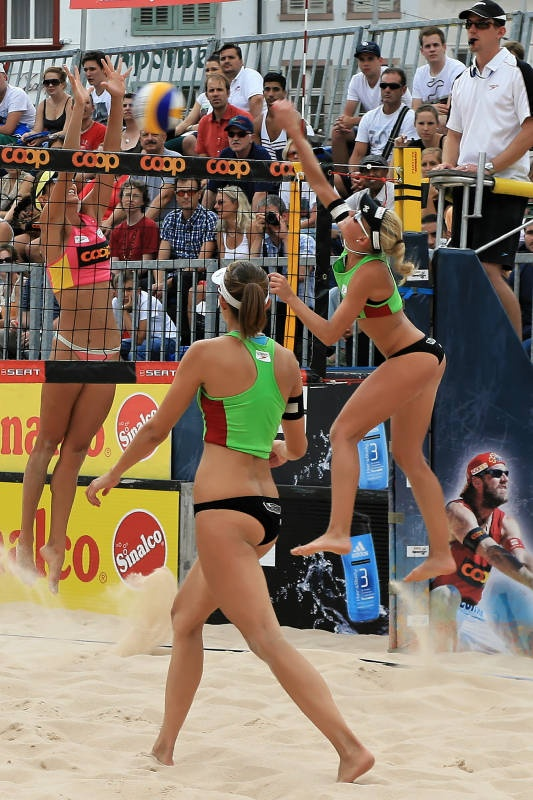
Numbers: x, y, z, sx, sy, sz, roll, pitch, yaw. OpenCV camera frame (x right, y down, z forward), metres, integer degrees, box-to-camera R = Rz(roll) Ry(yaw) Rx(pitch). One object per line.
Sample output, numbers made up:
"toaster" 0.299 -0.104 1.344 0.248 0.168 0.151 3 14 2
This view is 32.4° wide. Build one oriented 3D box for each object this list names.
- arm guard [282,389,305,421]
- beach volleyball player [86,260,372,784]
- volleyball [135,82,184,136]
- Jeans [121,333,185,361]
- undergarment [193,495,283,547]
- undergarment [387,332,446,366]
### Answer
"arm guard" 0.100 0.029 3.398 0.093 0.091 0.095 1 6 2
"beach volleyball player" -0.045 0.442 3.185 0.868 1.826 0.522 7 7 35
"volleyball" -0.608 -1.707 5.422 0.311 0.343 0.301 8 13 2
"Jeans" -0.869 -0.359 6.546 0.425 0.148 0.237 0 1 31
"undergarment" -0.065 0.376 3.060 0.217 0.100 0.223 1 -19 -7
"undergarment" 0.643 -0.200 3.908 0.182 0.080 0.134 -20 -6 34
